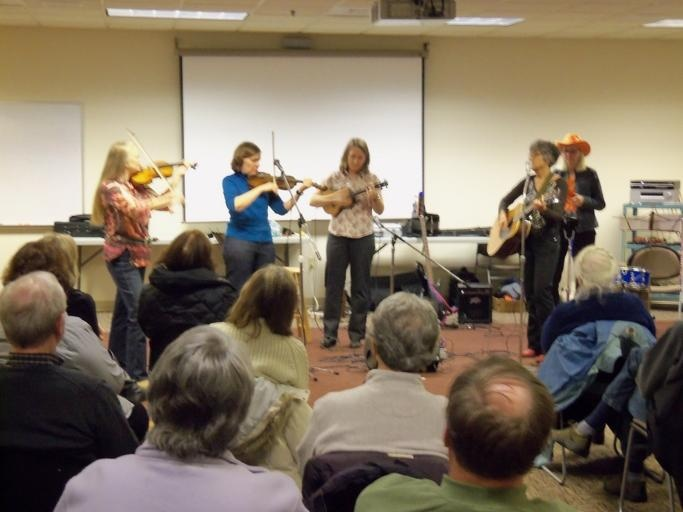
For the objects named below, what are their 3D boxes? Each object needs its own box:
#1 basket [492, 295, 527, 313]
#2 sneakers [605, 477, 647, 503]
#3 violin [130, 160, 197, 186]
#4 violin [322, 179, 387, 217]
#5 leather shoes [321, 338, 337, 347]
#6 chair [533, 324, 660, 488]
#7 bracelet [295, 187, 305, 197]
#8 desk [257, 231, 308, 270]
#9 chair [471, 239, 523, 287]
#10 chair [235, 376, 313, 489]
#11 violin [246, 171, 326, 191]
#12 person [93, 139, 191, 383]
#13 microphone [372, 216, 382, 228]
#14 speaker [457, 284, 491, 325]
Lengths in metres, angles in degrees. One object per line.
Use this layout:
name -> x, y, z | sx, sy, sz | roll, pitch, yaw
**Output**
basket -> 1.729, 0.486, 6.116 | 0.229, 0.145, 0.329 | 0, 1, 15
sneakers -> 1.330, 1.072, 2.813 | 0.096, 0.090, 0.194 | -5, 8, -37
violin -> -1.382, -0.618, 4.545 | 0.557, 0.089, 0.223 | -16, 51, -44
violin -> 0.120, -0.473, 4.903 | 0.535, 0.262, 0.077 | -22, -6, 12
leather shoes -> -0.100, 0.715, 5.034 | 0.106, 0.116, 0.070 | -1, 6, -10
chair -> 1.162, 0.664, 2.686 | 0.432, 0.544, 0.626 | 11, 48, 24
bracelet -> -0.334, -0.518, 4.833 | 0.056, 0.066, 0.038 | 5, 11, -19
desk -> -0.573, -0.069, 6.353 | 0.345, 0.363, 0.362 | -1, 12, -2
chair -> 1.746, 0.089, 6.668 | 0.469, 0.699, 0.592 | 0, -3, -12
chair -> -0.281, 0.687, 2.403 | 0.320, 0.387, 0.216 | -1, 7, -12
violin -> -0.443, -0.608, 4.764 | 0.536, 0.080, 0.225 | 7, 8, -4
person -> -1.376, 0.007, 4.013 | 0.412, 1.529, 0.443 | 5, 8, 34
microphone -> 0.349, -0.329, 5.686 | 0.036, 0.134, 0.128 | -10, 2, 2
speaker -> 1.323, 0.461, 5.967 | 0.365, 0.390, 0.368 | -1, 0, 0
